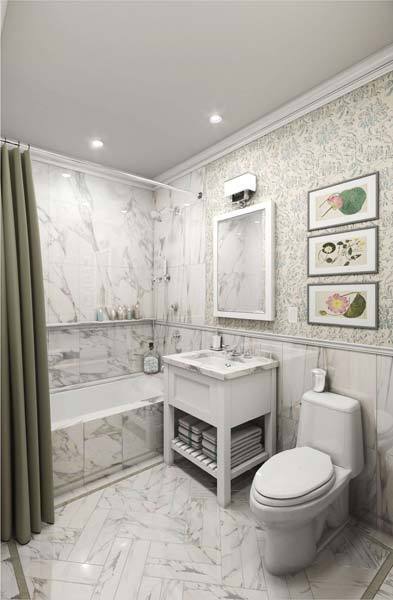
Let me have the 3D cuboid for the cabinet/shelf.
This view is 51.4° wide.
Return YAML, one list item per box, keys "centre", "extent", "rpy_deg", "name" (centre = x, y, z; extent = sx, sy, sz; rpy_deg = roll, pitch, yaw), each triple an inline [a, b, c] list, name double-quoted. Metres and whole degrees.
- centre: [0.189, 0.665, 2.853]
  extent: [0.708, 1.065, 0.862]
  rpy_deg: [-3, 3, -38]
  name: "cabinet/shelf"

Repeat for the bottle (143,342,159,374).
- centre: [-0.432, 0.547, 3.870]
  extent: [0.155, 0.287, 0.152]
  rpy_deg: [0, 6, 0]
  name: "bottle"

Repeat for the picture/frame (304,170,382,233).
- centre: [0.830, -0.548, 2.260]
  extent: [0.015, 0.308, 0.402]
  rpy_deg: [1, -2, -36]
  name: "picture/frame"

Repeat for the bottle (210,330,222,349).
- centre: [0.152, 0.307, 3.107]
  extent: [0.105, 0.131, 0.105]
  rpy_deg: [3, -1, -36]
  name: "bottle"

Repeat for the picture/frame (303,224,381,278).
- centre: [0.812, -0.271, 2.282]
  extent: [0.030, 0.264, 0.443]
  rpy_deg: [-5, 8, -37]
  name: "picture/frame"

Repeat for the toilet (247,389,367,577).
- centre: [0.546, 0.888, 2.036]
  extent: [0.678, 0.714, 0.345]
  rpy_deg: [-10, 12, -41]
  name: "toilet"

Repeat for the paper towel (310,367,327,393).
- centre: [0.692, 0.456, 2.306]
  extent: [0.114, 0.118, 0.092]
  rpy_deg: [9, -9, -40]
  name: "paper towel"

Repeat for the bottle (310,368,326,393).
- centre: [0.692, 0.455, 2.307]
  extent: [0.113, 0.116, 0.089]
  rpy_deg: [10, -12, -42]
  name: "bottle"

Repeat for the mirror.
- centre: [0.322, -0.259, 2.906]
  extent: [0.531, 0.803, 0.054]
  rpy_deg: [-1, -2, 43]
  name: "mirror"
